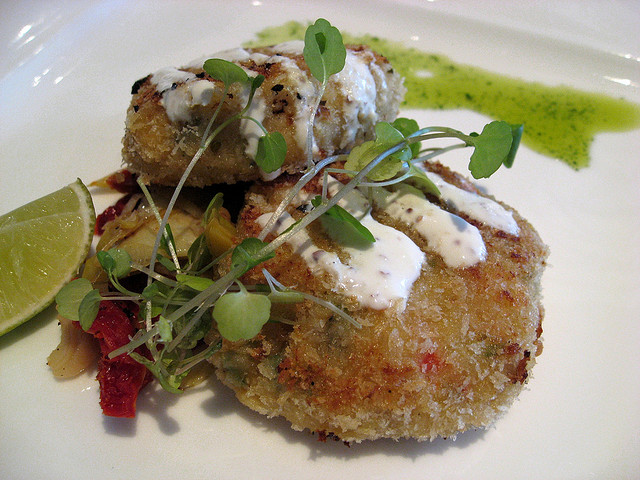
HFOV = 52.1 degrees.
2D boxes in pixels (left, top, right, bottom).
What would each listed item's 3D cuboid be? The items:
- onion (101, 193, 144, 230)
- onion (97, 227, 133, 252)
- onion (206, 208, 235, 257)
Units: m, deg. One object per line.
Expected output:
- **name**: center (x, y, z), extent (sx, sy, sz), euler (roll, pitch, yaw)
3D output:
- **onion**: center (-1.418, -0.199, 4.749), extent (0.050, 0.074, 0.313), euler (33, 62, 4)
- **onion**: center (-1.413, -0.019, 4.522), extent (0.087, 0.035, 0.261), euler (43, 76, 16)
- **onion**: center (-0.660, -0.057, 4.311), extent (0.197, 0.268, 0.118), euler (6, 48, -15)
